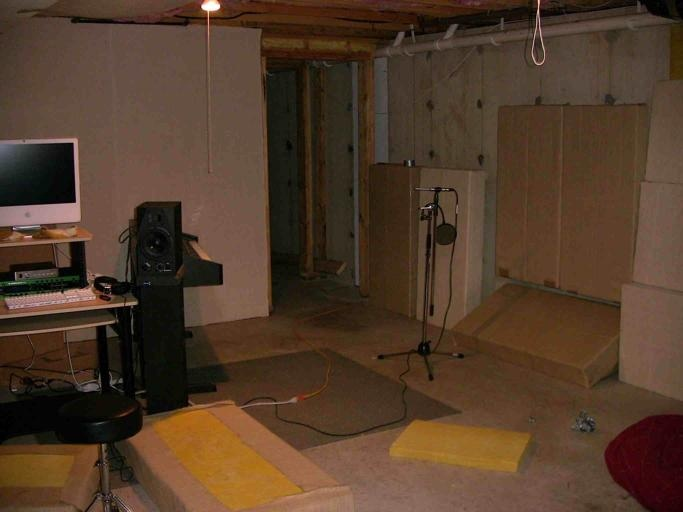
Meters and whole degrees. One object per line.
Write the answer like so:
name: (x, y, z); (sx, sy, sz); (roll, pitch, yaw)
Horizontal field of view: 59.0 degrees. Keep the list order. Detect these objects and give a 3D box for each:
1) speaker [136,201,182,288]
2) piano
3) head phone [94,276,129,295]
speaker: (-1.405, -0.114, 4.651); (0.296, 0.547, 0.443); (0, 7, -14)
piano: (-1.385, 0.529, 4.986); (0.531, 1.148, 1.419); (-3, 9, -15)
head phone: (-1.772, 0.218, 4.651); (0.210, 0.088, 0.159); (23, 16, 10)
